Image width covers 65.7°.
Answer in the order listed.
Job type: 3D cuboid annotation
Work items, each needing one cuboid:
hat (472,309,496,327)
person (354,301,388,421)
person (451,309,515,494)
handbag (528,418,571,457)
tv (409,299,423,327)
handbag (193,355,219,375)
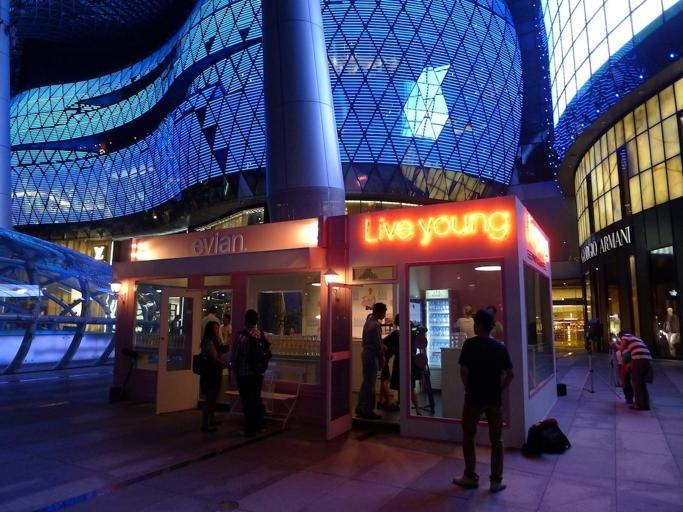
[{"bbox_3d":[2.550,1.143,9.481,0.261,0.365,0.336,5,-1,-5],"label":"hat"},{"bbox_3d":[0.681,2.498,12.619,0.566,1.841,0.782,-1,0,41],"label":"person"},{"bbox_3d":[2.494,2.514,9.312,0.934,2.572,0.440,-1,0,13],"label":"person"},{"bbox_3d":[4.125,3.633,10.611,0.610,0.497,0.667,1,-19,7],"label":"handbag"},{"bbox_3d":[1.741,1.295,12.232,0.131,0.456,0.676,-1,0,30],"label":"tv"},{"bbox_3d":[-3.116,2.552,12.359,0.507,0.555,0.395,-4,-7,17],"label":"handbag"}]
